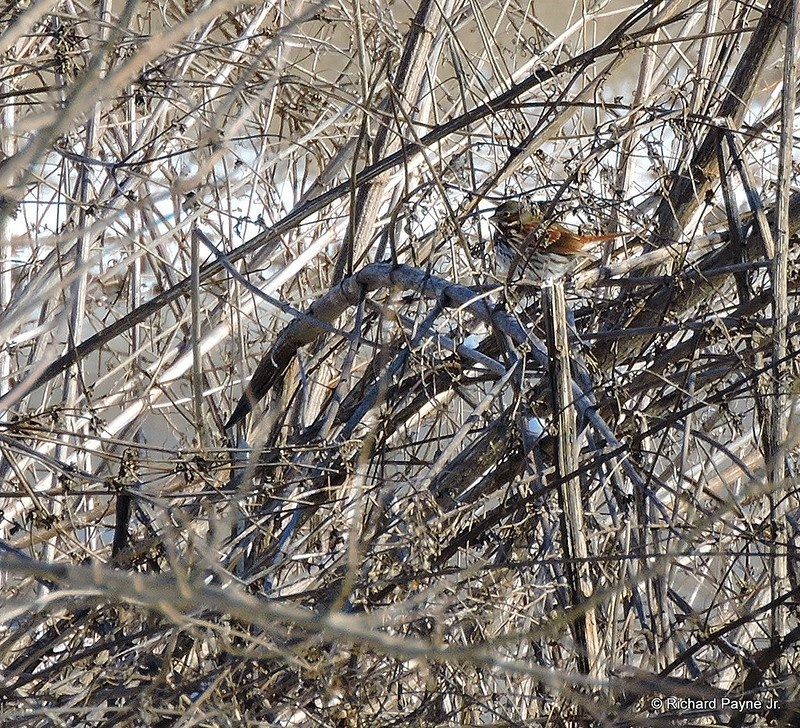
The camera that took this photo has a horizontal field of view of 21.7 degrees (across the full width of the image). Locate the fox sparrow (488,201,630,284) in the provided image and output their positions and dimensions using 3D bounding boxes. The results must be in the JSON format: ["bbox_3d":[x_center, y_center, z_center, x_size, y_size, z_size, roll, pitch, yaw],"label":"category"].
[{"bbox_3d":[0.774,-0.608,10.247,0.619,0.513,0.403,-9,-3,-12],"label":"fox sparrow"}]
